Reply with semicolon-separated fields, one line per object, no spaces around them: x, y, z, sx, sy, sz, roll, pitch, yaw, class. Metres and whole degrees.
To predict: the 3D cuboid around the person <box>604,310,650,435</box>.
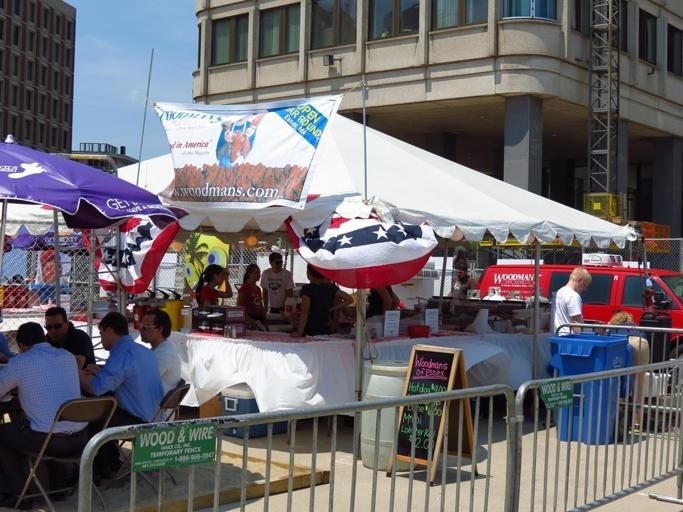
4.317;1.886;16.336;0.732;2.012;0.816;-6;6;-44;person

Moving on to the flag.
-1.331;-1.401;15.835;2.335;1.391;0.118;-2;-12;15;flag

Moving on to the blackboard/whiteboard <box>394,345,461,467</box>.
1.112;1.933;14.580;0.801;1.618;0.738;5;9;45;blackboard/whiteboard

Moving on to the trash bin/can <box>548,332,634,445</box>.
3.435;2.088;15.238;1.184;1.979;1.130;1;-1;12;trash bin/can

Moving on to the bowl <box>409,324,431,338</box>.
1.197;1.177;17.044;0.263;0.134;0.175;8;-11;-43;bowl

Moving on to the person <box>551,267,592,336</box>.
3.620;0.736;17.407;0.480;1.098;0.586;2;6;17;person
